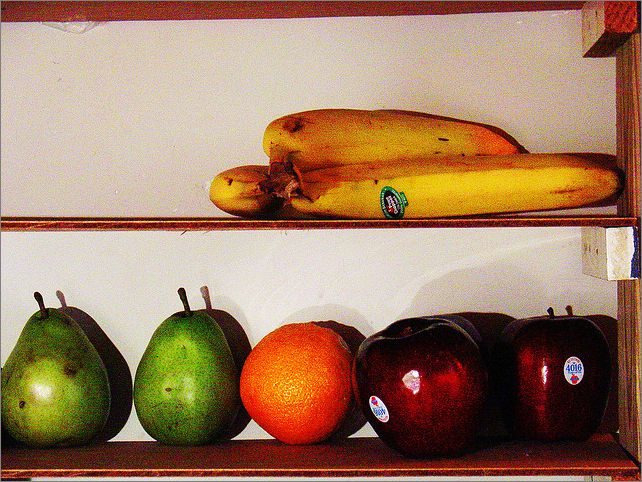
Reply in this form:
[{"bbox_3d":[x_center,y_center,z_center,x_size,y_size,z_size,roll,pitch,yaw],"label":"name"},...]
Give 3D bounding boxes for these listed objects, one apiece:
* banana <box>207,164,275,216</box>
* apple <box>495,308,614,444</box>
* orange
[{"bbox_3d":[-0.155,-0.093,1.398,0.109,0.074,0.087,-1,-7,12],"label":"banana"},{"bbox_3d":[0.461,0.258,1.444,0.213,0.266,0.217,1,-3,-35],"label":"apple"},{"bbox_3d":[-0.033,0.289,1.465,0.201,0.253,0.218,12,-24,6],"label":"orange"}]
